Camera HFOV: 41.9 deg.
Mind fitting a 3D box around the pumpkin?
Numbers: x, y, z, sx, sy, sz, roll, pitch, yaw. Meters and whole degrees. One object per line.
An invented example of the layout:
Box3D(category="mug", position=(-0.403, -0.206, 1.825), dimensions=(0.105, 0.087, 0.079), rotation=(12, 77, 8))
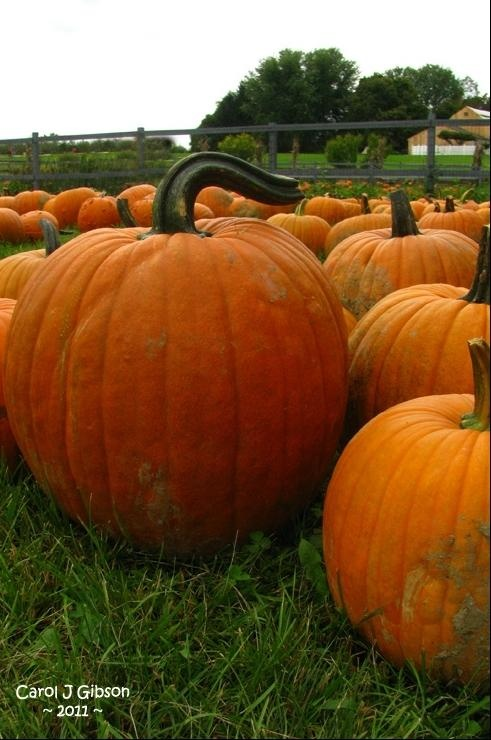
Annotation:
Box3D(category="pumpkin", position=(-0.088, -0.003, 1.812), dimensions=(1.533, 0.749, 0.928), rotation=(7, 9, 29))
